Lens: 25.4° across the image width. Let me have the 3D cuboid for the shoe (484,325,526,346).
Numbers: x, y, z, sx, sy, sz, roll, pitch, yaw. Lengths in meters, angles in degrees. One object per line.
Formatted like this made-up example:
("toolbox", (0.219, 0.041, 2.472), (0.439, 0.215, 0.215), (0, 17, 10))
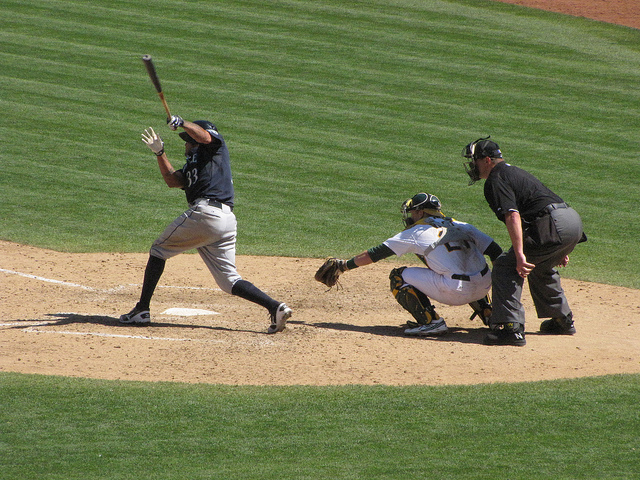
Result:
("shoe", (2.330, 1.228, 18.193), (0.598, 0.262, 0.215), (4, 6, 27))

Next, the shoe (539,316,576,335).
("shoe", (3.073, 1.107, 18.414), (0.457, 0.147, 0.199), (10, 18, 34))

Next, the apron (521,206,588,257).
("apron", (2.802, -0.093, 17.981), (0.656, 0.674, 0.161), (17, 16, 4))
